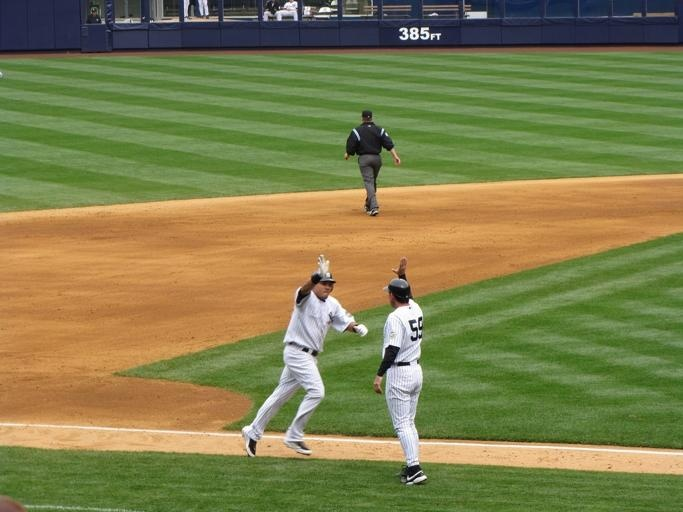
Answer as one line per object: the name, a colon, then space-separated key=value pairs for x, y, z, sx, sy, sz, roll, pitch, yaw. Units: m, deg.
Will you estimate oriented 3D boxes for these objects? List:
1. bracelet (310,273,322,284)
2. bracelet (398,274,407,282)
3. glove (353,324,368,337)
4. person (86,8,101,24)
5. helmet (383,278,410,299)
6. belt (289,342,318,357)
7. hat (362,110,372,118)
bracelet: x=-0.666 y=0.510 z=36.549 sx=0.223 sy=0.202 sz=0.238 roll=-8 pitch=-3 yaw=-30
bracelet: x=1.278 y=0.495 z=36.929 sx=0.195 sy=0.136 sz=0.138 roll=-8 pitch=27 yaw=-14
glove: x=0.268 y=1.626 z=36.876 sx=0.352 sy=0.134 sz=0.251 roll=13 pitch=6 yaw=25
person: x=-10.114 y=-9.367 z=67.725 sx=0.592 sy=0.652 sz=0.520 roll=-3 pitch=6 yaw=-8
helmet: x=1.118 y=0.685 z=36.408 sx=0.420 sy=0.260 sz=0.490 roll=-3 pitch=28 yaw=-21
belt: x=-0.912 y=2.026 z=36.984 sx=0.444 sy=0.084 sz=0.372 roll=18 pitch=-2 yaw=1
hat: x=0.593 y=-3.767 z=46.667 sx=0.289 sy=0.155 sz=0.336 roll=-1 pitch=4 yaw=-2
